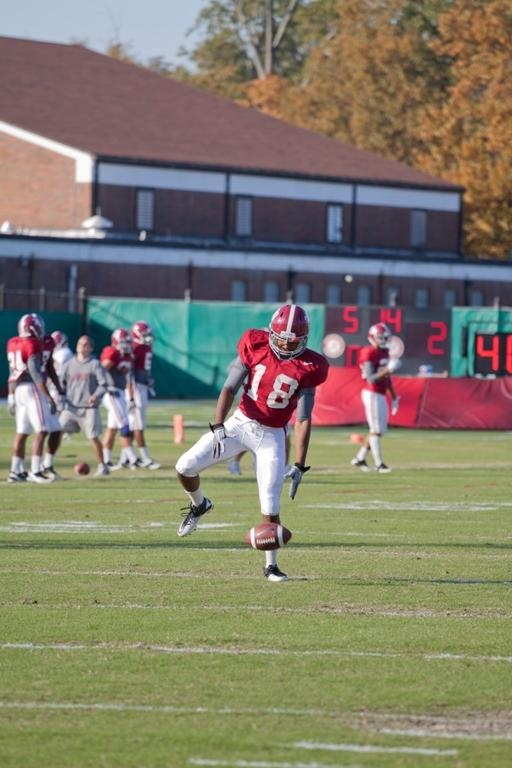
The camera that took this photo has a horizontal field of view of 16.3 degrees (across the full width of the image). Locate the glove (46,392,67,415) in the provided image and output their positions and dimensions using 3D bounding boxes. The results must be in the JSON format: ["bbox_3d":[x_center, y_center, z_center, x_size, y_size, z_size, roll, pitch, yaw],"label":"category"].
[{"bbox_3d":[-2.081,0.208,18.796,0.152,0.220,0.077,6,20,27],"label":"glove"}]

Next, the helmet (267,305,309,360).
[{"bbox_3d":[0.217,-0.334,12.152,0.262,0.363,0.299,8,-32,-2],"label":"helmet"}]

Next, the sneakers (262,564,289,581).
[{"bbox_3d":[0.136,1.302,12.450,0.163,0.108,0.170,-1,6,0],"label":"sneakers"}]

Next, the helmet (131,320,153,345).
[{"bbox_3d":[-1.295,-0.585,20.346,0.285,0.298,0.233,3,12,7],"label":"helmet"}]

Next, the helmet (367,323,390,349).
[{"bbox_3d":[1.434,-0.542,20.057,0.208,0.278,0.283,-2,-3,-21],"label":"helmet"}]

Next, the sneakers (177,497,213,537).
[{"bbox_3d":[-0.472,1.048,14.030,0.114,0.350,0.172,36,2,35],"label":"sneakers"}]

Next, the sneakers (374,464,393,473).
[{"bbox_3d":[1.401,0.928,19.699,0.090,0.073,0.160,0,-2,-31],"label":"sneakers"}]

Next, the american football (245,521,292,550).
[{"bbox_3d":[0.084,1.038,12.068,0.261,0.164,0.167,-5,20,3],"label":"american football"}]

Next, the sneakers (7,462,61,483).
[{"bbox_3d":[-2.300,0.903,18.236,0.589,0.245,0.204,4,6,3],"label":"sneakers"}]

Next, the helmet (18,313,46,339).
[{"bbox_3d":[-2.226,-0.572,17.728,0.267,0.274,0.242,-3,24,-13],"label":"helmet"}]

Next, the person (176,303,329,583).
[{"bbox_3d":[-0.064,0.203,12.512,1.037,1.522,0.551,2,7,31],"label":"person"}]

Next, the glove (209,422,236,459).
[{"bbox_3d":[-0.234,0.375,12.512,0.084,0.148,0.198,-22,-17,-37],"label":"glove"}]

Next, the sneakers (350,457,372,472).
[{"bbox_3d":[1.194,0.921,20.236,0.106,0.094,0.256,-26,-36,32],"label":"sneakers"}]
